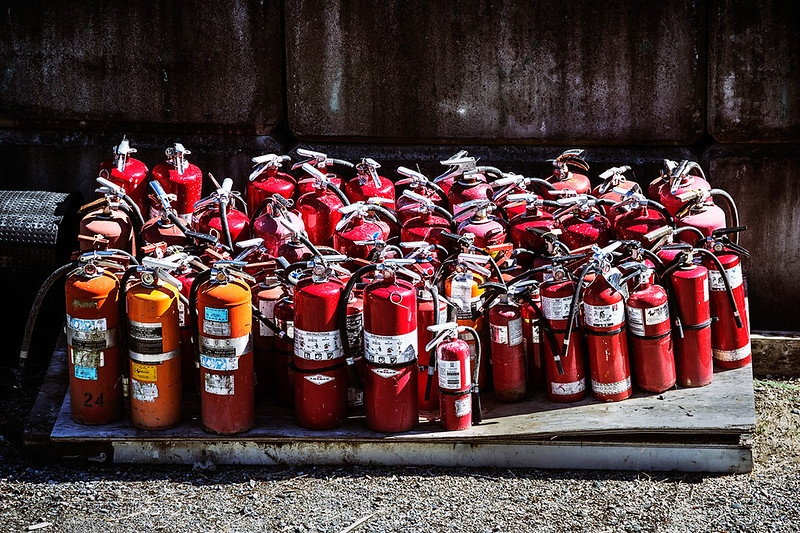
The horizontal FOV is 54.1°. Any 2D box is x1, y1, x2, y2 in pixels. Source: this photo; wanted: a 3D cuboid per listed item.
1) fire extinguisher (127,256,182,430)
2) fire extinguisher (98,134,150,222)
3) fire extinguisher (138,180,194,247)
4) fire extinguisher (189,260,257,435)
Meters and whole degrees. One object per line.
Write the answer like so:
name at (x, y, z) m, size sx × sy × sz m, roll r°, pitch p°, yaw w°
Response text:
fire extinguisher at (-1.069, 0.341, 3.407) m, size 0.251 × 0.747 × 0.125 m, roll 0°, pitch 5°, yaw 15°
fire extinguisher at (-1.455, -0.416, 4.243) m, size 0.253 × 0.588 × 0.188 m, roll 1°, pitch 49°, yaw -14°
fire extinguisher at (-1.147, -0.259, 3.779) m, size 0.162 × 0.312 × 0.322 m, roll -5°, pitch 6°, yaw -36°
fire extinguisher at (-0.749, 0.351, 3.381) m, size 0.222 × 0.756 × 0.102 m, roll -2°, pitch 5°, yaw -9°
